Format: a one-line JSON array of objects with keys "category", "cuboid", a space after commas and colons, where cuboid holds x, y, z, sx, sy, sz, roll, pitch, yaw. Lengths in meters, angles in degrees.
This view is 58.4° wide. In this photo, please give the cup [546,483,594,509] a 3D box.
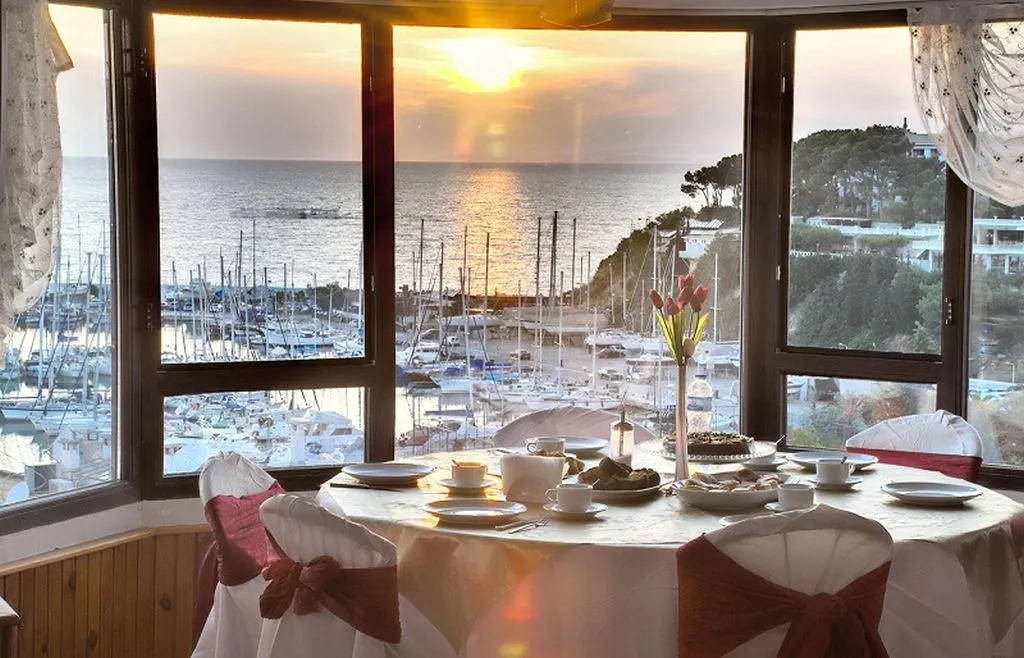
[{"category": "cup", "cuboid": [0.234, 0.612, 3.395, 0.121, 0.070, 0.095, 3, 4, 25]}]

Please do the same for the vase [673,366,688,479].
[{"category": "vase", "cuboid": [0.668, 0.395, 3.691, 0.076, 0.428, 0.076, -2, 7, 17]}]

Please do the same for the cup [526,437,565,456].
[{"category": "cup", "cuboid": [0.144, 0.497, 3.892, 0.104, 0.075, 0.081, -1, 0, 6]}]

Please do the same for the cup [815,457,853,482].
[{"category": "cup", "cuboid": [1.260, 0.556, 3.621, 0.116, 0.077, 0.088, 0, -4, -7]}]

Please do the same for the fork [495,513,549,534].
[{"category": "fork", "cuboid": [0.041, 0.683, 3.257, 0.056, 0.025, 0.193, 15, 12, 40]}]

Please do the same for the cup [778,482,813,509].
[{"category": "cup", "cuboid": [1.010, 0.606, 3.299, 0.094, 0.071, 0.091, -1, 1, 0]}]
